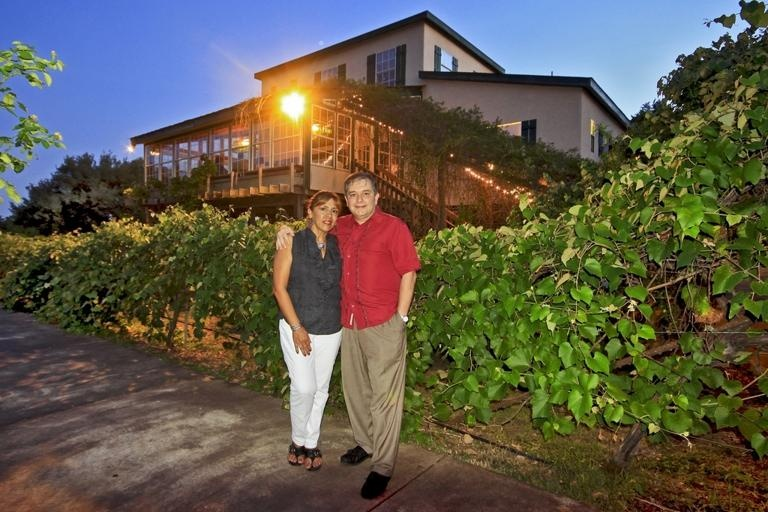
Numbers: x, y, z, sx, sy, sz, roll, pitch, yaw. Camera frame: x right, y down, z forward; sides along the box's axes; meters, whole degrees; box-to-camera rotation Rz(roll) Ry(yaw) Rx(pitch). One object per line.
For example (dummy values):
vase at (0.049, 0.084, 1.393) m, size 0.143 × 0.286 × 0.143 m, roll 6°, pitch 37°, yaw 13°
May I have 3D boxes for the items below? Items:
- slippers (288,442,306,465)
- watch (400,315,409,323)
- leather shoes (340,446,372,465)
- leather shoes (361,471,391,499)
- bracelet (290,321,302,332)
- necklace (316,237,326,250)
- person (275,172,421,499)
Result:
slippers at (-0.892, 2.041, 4.520) m, size 0.116 × 0.093 × 0.227 m, roll 2°, pitch -4°, yaw -6°
watch at (0.199, 0.615, 4.343) m, size 0.085 × 0.089 × 0.027 m, roll 2°, pitch 2°, yaw -38°
leather shoes at (-0.293, 2.078, 4.564) m, size 0.276 × 0.121 × 0.131 m, roll 12°, pitch 19°, yaw -30°
leather shoes at (-0.074, 2.140, 4.133) m, size 0.285 × 0.177 × 0.197 m, roll 0°, pitch 5°, yaw -10°
bracelet at (-0.861, 0.694, 4.319) m, size 0.083 × 0.045 × 0.087 m, roll 3°, pitch 33°, yaw 4°
necklace at (-0.643, -0.134, 4.507) m, size 0.078 × 0.092 × 0.102 m, roll 8°, pitch 17°, yaw -21°
person at (-0.368, 0.775, 4.389) m, size 1.335 × 3.217 × 1.158 m, roll 1°, pitch 11°, yaw 8°
